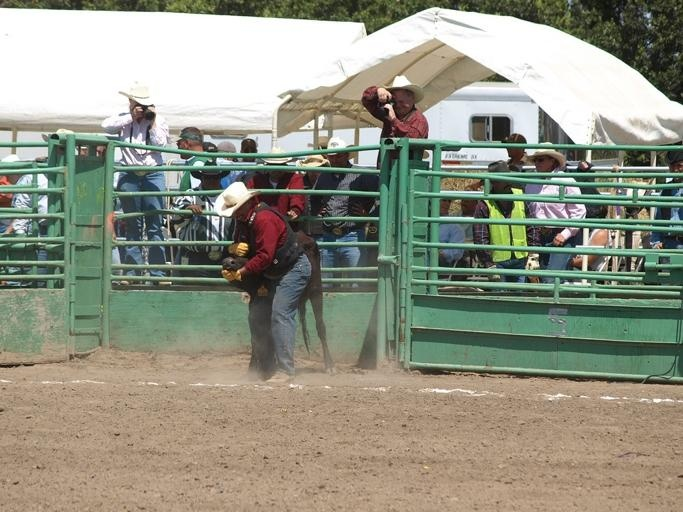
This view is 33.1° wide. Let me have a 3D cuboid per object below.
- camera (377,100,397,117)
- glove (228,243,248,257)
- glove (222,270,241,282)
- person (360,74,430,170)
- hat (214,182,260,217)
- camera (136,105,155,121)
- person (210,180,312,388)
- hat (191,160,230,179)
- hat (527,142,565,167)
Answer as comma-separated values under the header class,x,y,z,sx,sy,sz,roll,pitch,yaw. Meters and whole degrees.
class,x,y,z,sx,sy,sz,roll,pitch,yaw
camera,0.587,-1.884,14.631,0.145,0.213,0.221,9,-1,10
glove,-1.201,-0.094,13.533,0.219,0.142,0.099,1,-12,28
glove,-1.290,0.227,13.529,0.141,0.147,0.176,11,-29,-35
person,0.630,-1.636,14.800,0.934,1.283,0.705,11,-4,-26
hat,-1.245,-0.680,13.442,0.465,0.394,0.262,0,1,-3
camera,-2.699,-1.983,15.820,0.213,0.164,0.223,-3,15,-18
person,-0.939,0.296,13.677,0.624,2.350,1.081,0,1,44
hat,-1.763,-1.194,15.150,0.416,0.139,0.352,-3,-4,17
hat,2.830,-1.415,15.751,0.507,0.166,0.430,5,-7,-2
